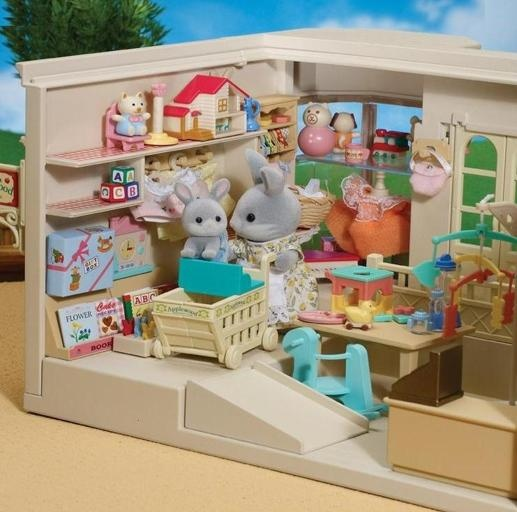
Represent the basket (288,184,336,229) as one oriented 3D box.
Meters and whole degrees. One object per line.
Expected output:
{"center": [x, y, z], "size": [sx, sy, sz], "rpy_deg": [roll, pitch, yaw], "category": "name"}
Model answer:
{"center": [0.437, -0.403, 4.807], "size": [0.371, 0.219, 0.344], "rpy_deg": [3, 15, -6], "category": "basket"}
